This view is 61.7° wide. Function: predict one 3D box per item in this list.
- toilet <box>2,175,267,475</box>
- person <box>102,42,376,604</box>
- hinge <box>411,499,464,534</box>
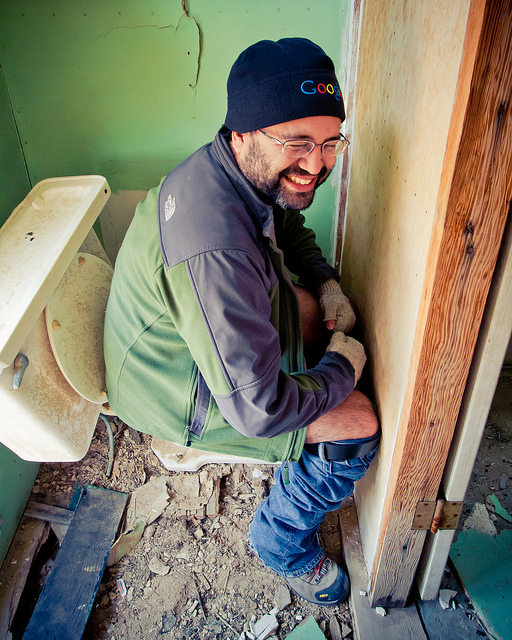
[{"bbox_3d":[-0.326,0.091,1.268,0.612,0.475,0.649,4,56,-11],"label":"toilet"},{"bbox_3d":[0.008,0.006,1.274,0.623,1.360,0.881,5,31,16],"label":"person"},{"bbox_3d":[0.446,0.486,1.062,0.105,0.129,0.023,2,36,5],"label":"hinge"}]
